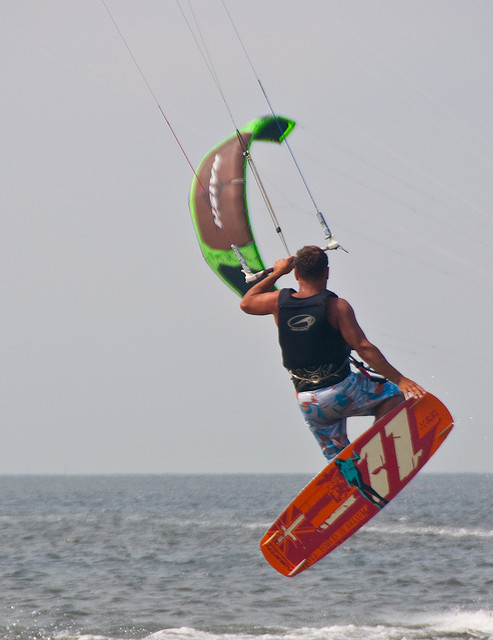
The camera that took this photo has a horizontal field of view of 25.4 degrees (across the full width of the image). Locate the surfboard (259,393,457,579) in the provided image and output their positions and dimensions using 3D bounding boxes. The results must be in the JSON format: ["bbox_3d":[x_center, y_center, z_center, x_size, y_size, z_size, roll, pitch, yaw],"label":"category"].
[{"bbox_3d":[2.326,3.378,23.122,5.232,1.527,0.679,-41,8,-25],"label":"surfboard"}]

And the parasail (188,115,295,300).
[{"bbox_3d":[-0.152,-2.688,25.410,2.559,4.576,1.003,-19,-24,-2],"label":"parasail"}]
